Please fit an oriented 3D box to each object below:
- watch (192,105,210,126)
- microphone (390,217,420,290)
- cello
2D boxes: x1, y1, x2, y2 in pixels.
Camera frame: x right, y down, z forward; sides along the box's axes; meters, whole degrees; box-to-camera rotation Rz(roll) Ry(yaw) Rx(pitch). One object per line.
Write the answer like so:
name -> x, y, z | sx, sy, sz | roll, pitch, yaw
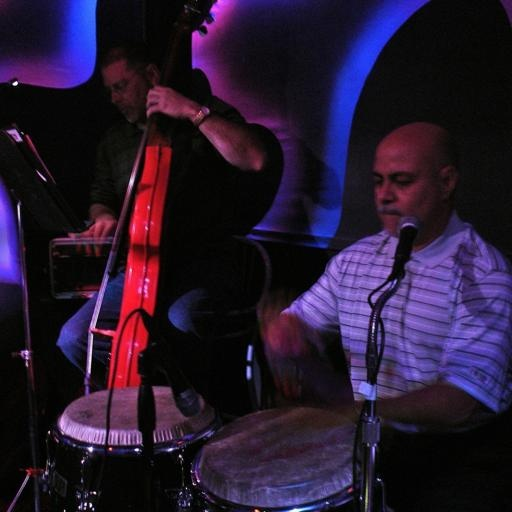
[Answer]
watch -> -0.239, -0.597, 2.643 | 0.060, 0.037, 0.061 | -47, 8, -38
microphone -> 0.374, -0.019, 1.525 | 0.054, 0.193, 0.054 | 9, -26, 21
cello -> -0.453, -0.222, 2.678 | 0.239, 2.060, 0.280 | 19, -14, -17
